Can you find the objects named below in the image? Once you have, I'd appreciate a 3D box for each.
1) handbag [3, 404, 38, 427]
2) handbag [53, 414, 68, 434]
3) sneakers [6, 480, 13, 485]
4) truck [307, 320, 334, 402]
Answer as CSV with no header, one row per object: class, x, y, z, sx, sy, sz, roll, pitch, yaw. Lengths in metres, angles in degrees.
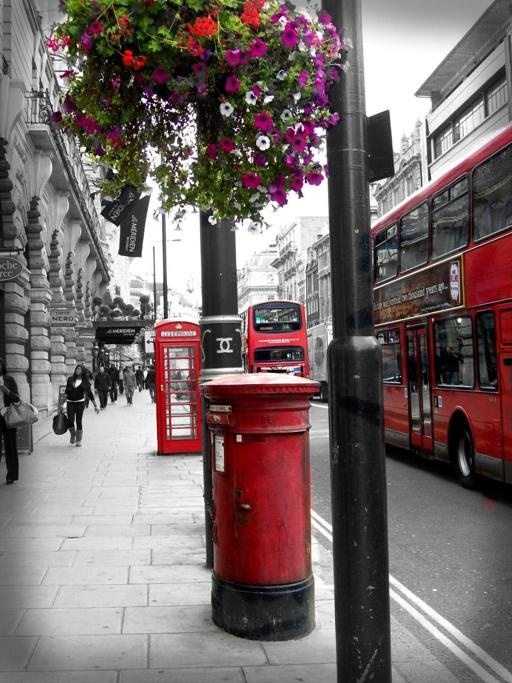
handbag,-3.817,1.185,10.629,0.396,0.524,0.185,-2,-5,-24
handbag,-4.199,1.765,14.179,0.288,0.448,0.835,1,-4,-15
sneakers,-3.768,2.148,10.063,0.113,0.074,0.097,1,-3,6
truck,3.446,0.955,36.244,1.015,4.412,8.711,0,-4,4
